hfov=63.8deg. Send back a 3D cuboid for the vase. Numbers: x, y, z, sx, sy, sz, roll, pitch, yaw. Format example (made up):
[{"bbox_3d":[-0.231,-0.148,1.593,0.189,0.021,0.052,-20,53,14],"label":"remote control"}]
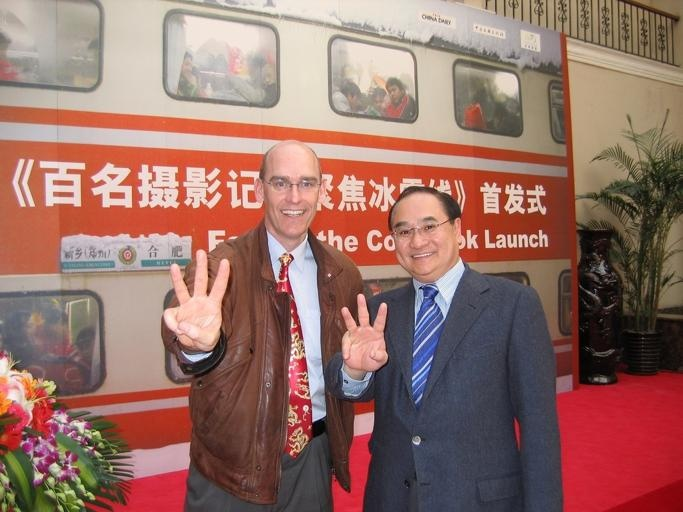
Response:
[{"bbox_3d":[3.235,0.633,6.976,0.547,1.920,0.507,4,5,24],"label":"vase"}]

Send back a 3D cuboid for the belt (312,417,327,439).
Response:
[{"bbox_3d":[-0.114,0.872,2.786,0.052,0.061,0.075,-4,-6,-2],"label":"belt"}]
